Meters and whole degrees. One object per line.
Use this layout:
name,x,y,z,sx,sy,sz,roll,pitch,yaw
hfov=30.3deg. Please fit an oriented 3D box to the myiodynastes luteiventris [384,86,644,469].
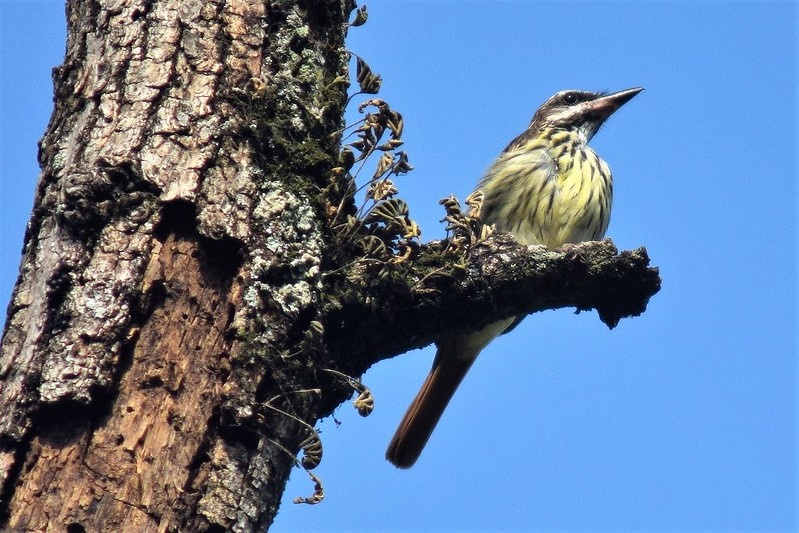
myiodynastes luteiventris,0.591,0.002,8.901,0.673,0.908,2.187,38,-94,-34
